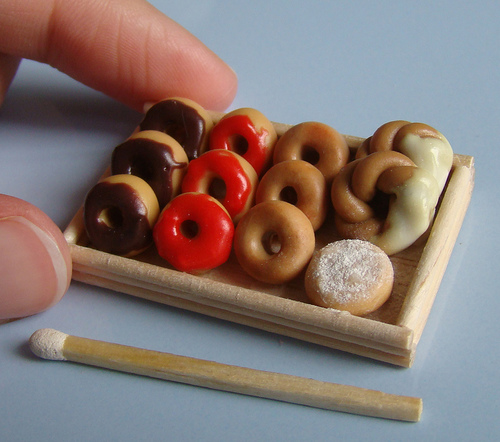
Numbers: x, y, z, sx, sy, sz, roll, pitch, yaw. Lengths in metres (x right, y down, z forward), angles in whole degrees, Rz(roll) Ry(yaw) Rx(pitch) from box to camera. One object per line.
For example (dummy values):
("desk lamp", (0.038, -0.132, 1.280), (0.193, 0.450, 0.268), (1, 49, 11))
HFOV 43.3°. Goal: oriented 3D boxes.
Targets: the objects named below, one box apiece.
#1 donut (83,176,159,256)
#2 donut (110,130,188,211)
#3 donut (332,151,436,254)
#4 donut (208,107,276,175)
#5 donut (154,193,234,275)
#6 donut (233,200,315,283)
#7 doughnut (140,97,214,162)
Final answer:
("donut", (-0.319, -0.015, 1.553), (0.172, 0.208, 0.068), (0, 5, 15))
("donut", (-0.248, -0.133, 1.632), (0.182, 0.219, 0.072), (1, 2, 22))
("donut", (0.311, -0.052, 1.481), (0.237, 0.236, 0.088), (17, 0, 18))
("donut", (-0.027, -0.186, 1.738), (0.083, 0.220, 0.222), (51, -11, -12))
("donut", (-0.139, 0.031, 1.534), (0.187, 0.229, 0.084), (14, -33, -6))
("donut", (0.067, 0.057, 1.498), (0.064, 0.189, 0.177), (22, -45, -30))
("doughnut", (-0.180, -0.275, 1.776), (0.174, 0.202, 0.069), (-20, 2, 12))
